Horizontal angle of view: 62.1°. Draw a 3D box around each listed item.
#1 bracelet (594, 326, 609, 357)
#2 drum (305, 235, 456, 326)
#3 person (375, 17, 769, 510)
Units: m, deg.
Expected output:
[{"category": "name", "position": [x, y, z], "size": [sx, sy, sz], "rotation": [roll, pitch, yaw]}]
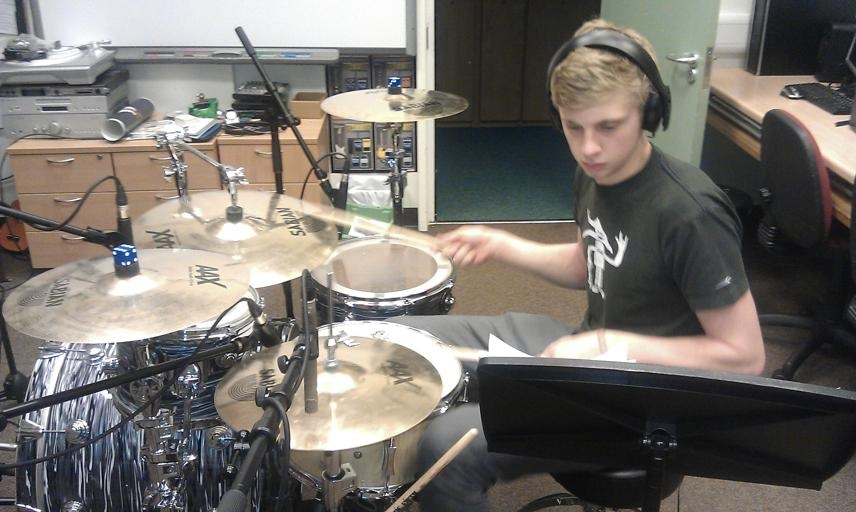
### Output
[{"category": "bracelet", "position": [0.595, 0.295, 2.434], "size": [0.038, 0.067, 0.060], "rotation": [-1, 22, 2]}, {"category": "drum", "position": [-0.181, 0.116, 3.162], "size": [0.488, 0.149, 0.436], "rotation": [-3, 35, -3]}, {"category": "person", "position": [0.519, 0.012, 2.600], "size": [1.190, 1.642, 0.807], "rotation": [-3, 23, -2]}]
